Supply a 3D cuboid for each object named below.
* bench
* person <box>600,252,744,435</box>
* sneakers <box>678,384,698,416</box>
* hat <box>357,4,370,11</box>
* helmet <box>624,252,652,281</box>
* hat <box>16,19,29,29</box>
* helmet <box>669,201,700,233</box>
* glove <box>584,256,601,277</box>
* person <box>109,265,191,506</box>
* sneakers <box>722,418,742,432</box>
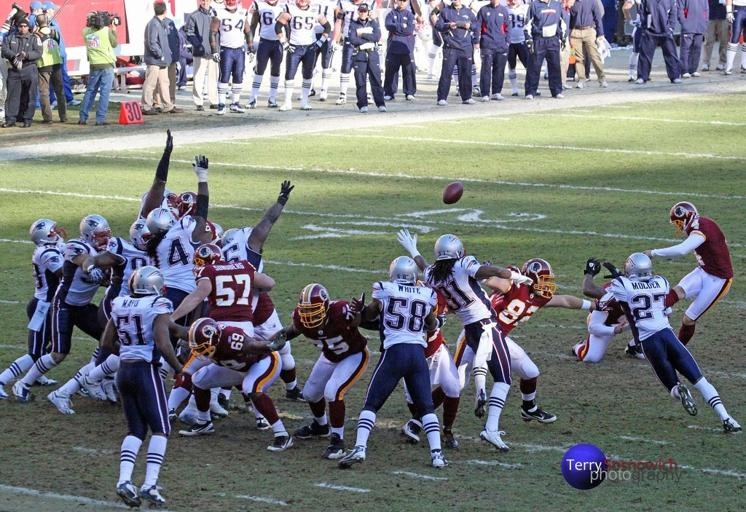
[{"bbox_3d":[-6.580,-4.653,26.795,1.736,1.050,3.063,-4,6,-11],"label":"bench"},{"bbox_3d":[2.642,0.757,9.659,1.012,1.519,0.403,0,6,31],"label":"person"},{"bbox_3d":[2.773,1.294,9.582,0.106,0.282,0.129,-20,-14,-20],"label":"sneakers"},{"bbox_3d":[-0.218,-5.409,23.402,0.222,0.184,0.235,-3,5,-1],"label":"hat"},{"bbox_3d":[2.434,0.097,9.900,0.212,0.234,0.257,1,13,-11],"label":"helmet"},{"bbox_3d":[-6.829,-4.528,21.079,0.164,0.170,0.210,3,-21,-9],"label":"hat"},{"bbox_3d":[3.228,-0.409,11.264,0.347,0.322,0.274,-13,-2,16],"label":"helmet"},{"bbox_3d":[2.136,0.126,10.433,0.168,0.211,0.065,23,24,34],"label":"glove"},{"bbox_3d":[-1.792,1.003,8.633,0.609,1.802,0.835,-4,5,-14],"label":"person"},{"bbox_3d":[3.113,1.466,9.369,0.190,0.135,0.104,-5,6,-23],"label":"sneakers"}]
